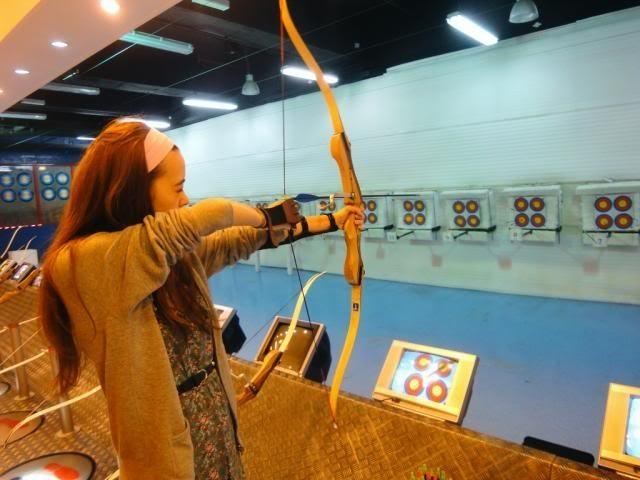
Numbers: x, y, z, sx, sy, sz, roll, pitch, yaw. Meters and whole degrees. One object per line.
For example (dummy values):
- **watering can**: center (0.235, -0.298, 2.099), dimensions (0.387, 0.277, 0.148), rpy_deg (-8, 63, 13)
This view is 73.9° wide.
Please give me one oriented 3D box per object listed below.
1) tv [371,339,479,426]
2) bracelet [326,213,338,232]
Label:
- **tv**: center (0.445, 0.593, 1.715), dimensions (0.348, 0.263, 0.192), rpy_deg (1, -32, 38)
- **bracelet**: center (0.033, -0.056, 1.378), dimensions (0.039, 0.052, 0.026), rpy_deg (-1, -1, 2)
